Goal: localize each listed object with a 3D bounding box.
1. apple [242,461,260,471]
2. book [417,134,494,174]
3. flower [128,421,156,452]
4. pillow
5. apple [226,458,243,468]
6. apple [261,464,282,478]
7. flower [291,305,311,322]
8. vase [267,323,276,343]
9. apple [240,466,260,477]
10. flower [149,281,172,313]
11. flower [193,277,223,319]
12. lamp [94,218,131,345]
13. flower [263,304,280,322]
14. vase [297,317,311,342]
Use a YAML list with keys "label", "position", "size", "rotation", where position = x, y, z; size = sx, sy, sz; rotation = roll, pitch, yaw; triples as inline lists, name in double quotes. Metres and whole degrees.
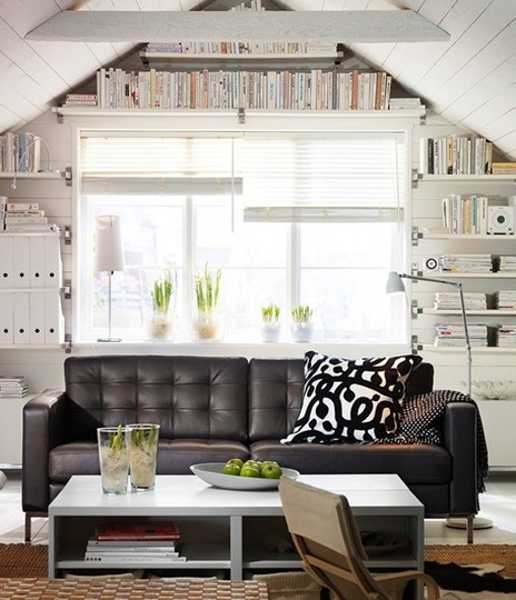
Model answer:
- label: "apple"
  position: [-0.024, 0.654, 2.668]
  size: [0.041, 0.033, 0.038]
  rotation: [0, -3, -5]
- label: "book"
  position: [1.370, -1.006, 4.667]
  size: [0.477, 0.272, 0.064]
  rotation: [0, 1, 3]
- label: "flower"
  position: [-0.448, 0.523, 2.644]
  size: [0.101, 0.091, 0.100]
  rotation: [2, -8, -5]
- label: "pillow"
  position: [0.499, 0.498, 3.480]
  size: [0.647, 0.416, 0.372]
  rotation: [0, 1, 11]
- label: "apple"
  position: [-0.093, 0.646, 2.714]
  size: [0.059, 0.049, 0.055]
  rotation: [1, -2, 9]
- label: "apple"
  position: [0.050, 0.661, 2.600]
  size: [0.057, 0.050, 0.053]
  rotation: [9, -12, 5]
- label: "flower"
  position: [0.313, 0.090, 4.804]
  size: [0.129, 0.125, 0.120]
  rotation: [0, -4, -9]
- label: "vase"
  position: [0.094, 0.224, 4.715]
  size: [0.120, 0.117, 0.112]
  rotation: [1, -4, -1]
- label: "apple"
  position: [-0.032, 0.657, 2.600]
  size: [0.048, 0.039, 0.046]
  rotation: [-3, -13, 16]
- label: "flower"
  position: [-0.675, -0.027, 4.708]
  size: [0.132, 0.231, 0.190]
  rotation: [0, 1, -10]
- label: "flower"
  position: [-0.354, -0.043, 4.793]
  size: [0.180, 0.313, 0.321]
  rotation: [0, 1, -4]
- label: "lamp"
  position: [-1.043, -0.145, 4.713]
  size: [0.182, 0.873, 0.436]
  rotation: [0, 1, -14]
- label: "flower"
  position: [0.098, 0.088, 4.816]
  size: [0.130, 0.144, 0.141]
  rotation: [-1, 0, 24]
- label: "vase"
  position: [0.303, 0.205, 4.726]
  size: [0.149, 0.144, 0.136]
  rotation: [1, -7, -4]
